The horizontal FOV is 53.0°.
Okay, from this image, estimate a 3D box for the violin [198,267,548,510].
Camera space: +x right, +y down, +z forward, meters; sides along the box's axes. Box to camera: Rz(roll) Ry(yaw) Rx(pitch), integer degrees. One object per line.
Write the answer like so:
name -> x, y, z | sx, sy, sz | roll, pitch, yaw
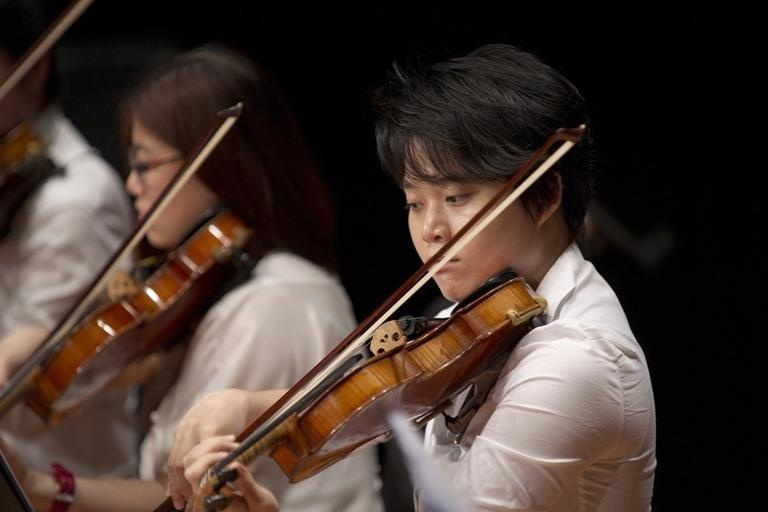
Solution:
violin -> 0.020, 0.181, 1.776 | 0.862, 0.224, 0.365 | -32, -30, -10
